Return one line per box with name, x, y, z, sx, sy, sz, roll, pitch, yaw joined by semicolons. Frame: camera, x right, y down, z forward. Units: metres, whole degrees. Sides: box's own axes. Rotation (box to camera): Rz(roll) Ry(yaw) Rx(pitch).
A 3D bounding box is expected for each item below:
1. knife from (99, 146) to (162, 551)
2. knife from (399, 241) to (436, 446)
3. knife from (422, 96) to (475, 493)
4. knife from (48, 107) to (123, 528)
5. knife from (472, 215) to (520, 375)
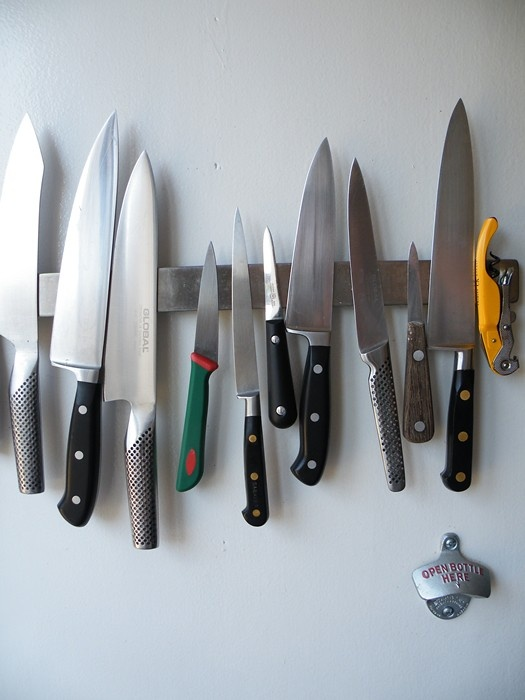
knife;-0.217;0.018;1.233;0.068;0.716;0.036;1;0;-5
knife;0.264;-0.011;1.205;0.052;0.331;0.035;0;-2;10
knife;0.322;-0.098;1.198;0.061;0.741;0.029;2;0;9
knife;-0.299;-0.059;1.206;0.075;0.796;0.033;3;-1;9
knife;0.400;-0.087;1.202;0.097;0.260;0.047;2;-2;-36
